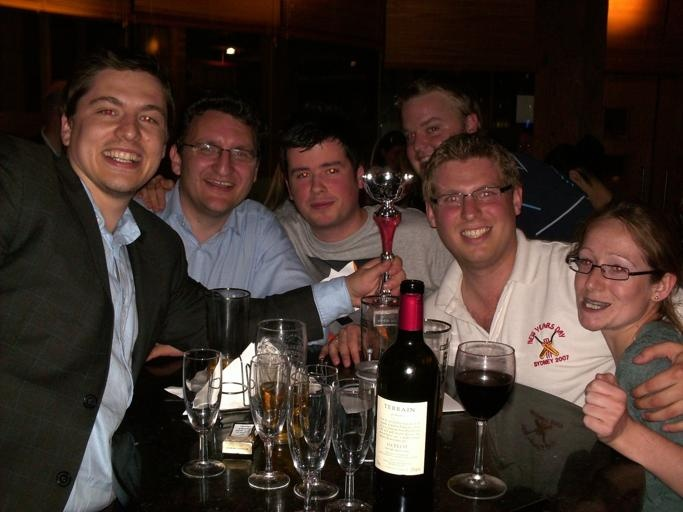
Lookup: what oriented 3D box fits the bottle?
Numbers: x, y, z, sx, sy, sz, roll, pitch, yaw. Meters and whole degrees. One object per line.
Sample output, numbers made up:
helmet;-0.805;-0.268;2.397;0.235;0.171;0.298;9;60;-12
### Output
bottle;0.166;0.358;1.523;0.150;0.444;0.212;3;15;9
